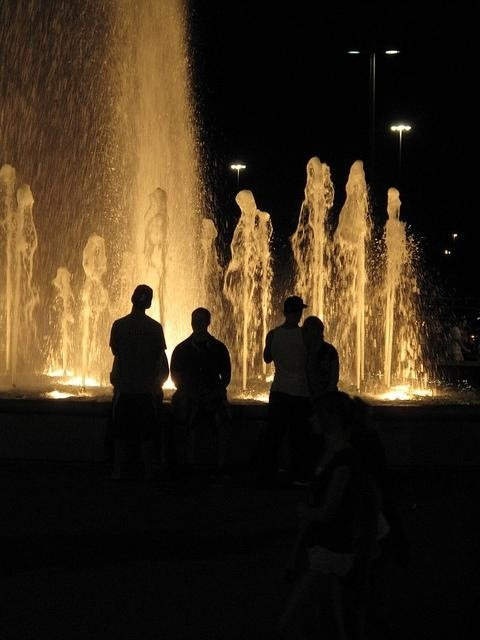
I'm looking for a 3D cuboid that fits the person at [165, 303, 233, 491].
[{"bbox_3d":[-0.329,0.583,6.573,0.483,1.360,0.446,0,4,-7],"label":"person"}]

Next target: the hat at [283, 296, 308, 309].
[{"bbox_3d":[0.390,-0.129,6.004,0.103,0.089,0.092,-4,6,-14],"label":"hat"}]

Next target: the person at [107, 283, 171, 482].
[{"bbox_3d":[-0.797,0.485,6.564,0.444,1.545,0.574,0,4,-11],"label":"person"}]
